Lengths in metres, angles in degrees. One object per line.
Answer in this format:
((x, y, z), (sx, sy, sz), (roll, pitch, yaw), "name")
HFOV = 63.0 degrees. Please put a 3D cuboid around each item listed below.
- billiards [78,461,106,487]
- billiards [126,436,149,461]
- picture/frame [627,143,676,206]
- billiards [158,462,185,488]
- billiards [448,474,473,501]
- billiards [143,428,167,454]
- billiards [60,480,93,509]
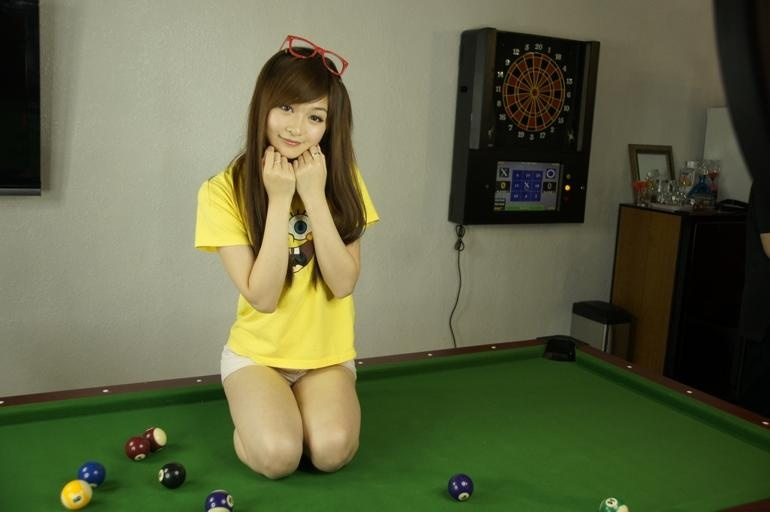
((-0.946, 0.698, 2.023), (0.070, 0.082, 0.078), (-3, 6, -6), "billiards")
((-0.843, 0.649, 2.144), (0.070, 0.082, 0.074), (1, -2, -17), "billiards")
((1.872, -0.583, 4.469), (0.421, 0.506, 0.036), (2, -9, -27), "picture/frame")
((-0.700, 0.707, 2.064), (0.088, 0.081, 0.085), (-2, 11, -21), "billiards")
((0.245, 0.750, 2.040), (0.069, 0.082, 0.077), (-2, 4, -6), "billiards")
((-0.788, 0.624, 2.179), (0.072, 0.083, 0.077), (16, -11, -3), "billiards")
((-0.957, 0.739, 1.944), (0.067, 0.079, 0.092), (-2, -2, -2), "billiards")
